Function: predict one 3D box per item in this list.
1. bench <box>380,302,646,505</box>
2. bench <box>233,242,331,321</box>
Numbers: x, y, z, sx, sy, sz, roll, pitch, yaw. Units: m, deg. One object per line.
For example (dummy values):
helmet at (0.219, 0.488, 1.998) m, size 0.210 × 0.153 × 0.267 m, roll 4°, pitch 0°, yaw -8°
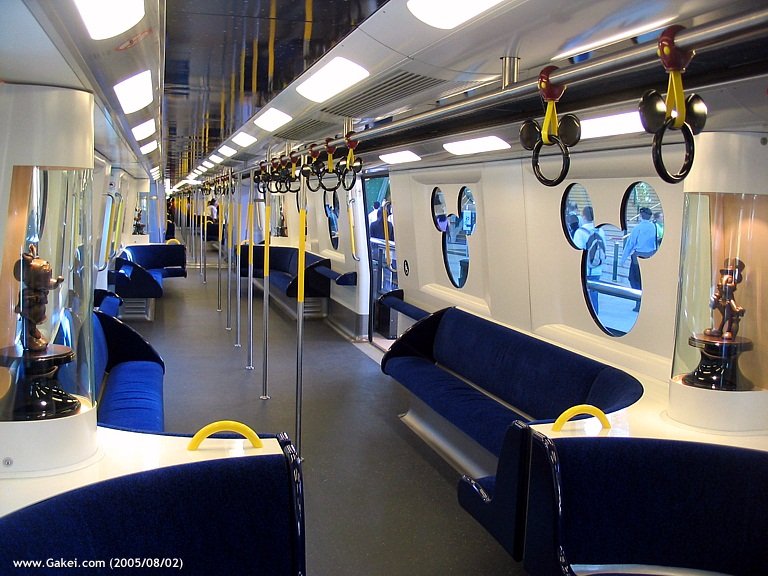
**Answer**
bench at (0.883, 0.724, 4.498) m, size 0.900 × 0.649 × 2.742 m, roll -2°, pitch 9°, yaw -24°
bench at (-2.191, -0.245, 11.454) m, size 1.045 × 1.151 × 3.382 m, roll -4°, pitch 12°, yaw -33°
